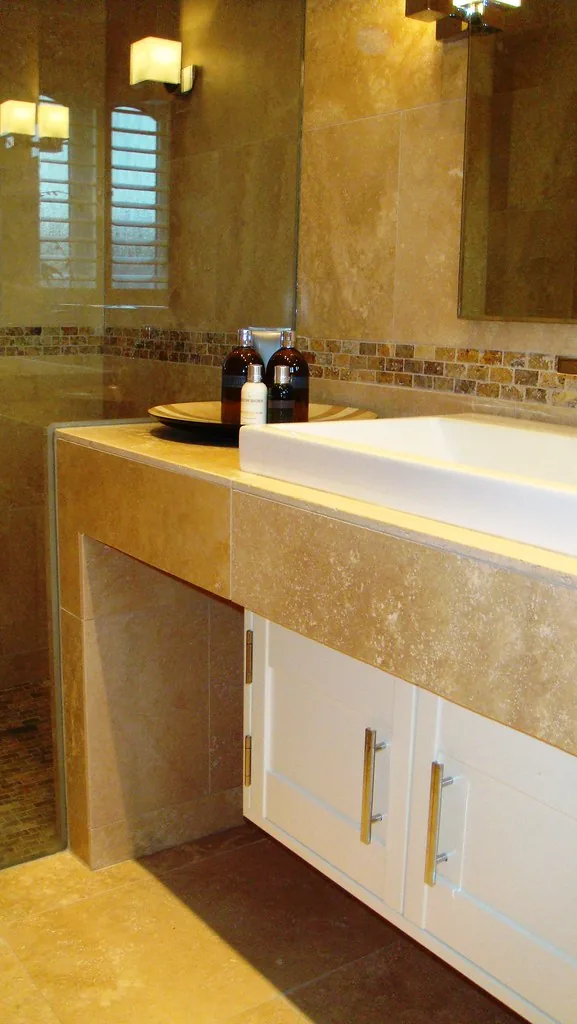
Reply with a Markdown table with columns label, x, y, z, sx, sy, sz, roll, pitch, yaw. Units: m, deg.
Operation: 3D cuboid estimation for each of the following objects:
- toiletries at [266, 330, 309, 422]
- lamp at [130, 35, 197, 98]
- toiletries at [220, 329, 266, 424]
| label | x | y | z | sx | sy | sz | roll | pitch | yaw |
| --- | --- | --- | --- | --- | --- | --- | --- | --- | --- |
| toiletries | -0.003 | -0.245 | 1.409 | 0.062 | 0.178 | 0.068 | -1 | -2 | 10 |
| lamp | -0.259 | -0.921 | 1.584 | 0.086 | 0.127 | 0.120 | 22 | 31 | 39 |
| toiletries | -0.094 | -0.255 | 1.466 | 0.081 | 0.178 | 0.086 | 11 | 1 | 28 |
